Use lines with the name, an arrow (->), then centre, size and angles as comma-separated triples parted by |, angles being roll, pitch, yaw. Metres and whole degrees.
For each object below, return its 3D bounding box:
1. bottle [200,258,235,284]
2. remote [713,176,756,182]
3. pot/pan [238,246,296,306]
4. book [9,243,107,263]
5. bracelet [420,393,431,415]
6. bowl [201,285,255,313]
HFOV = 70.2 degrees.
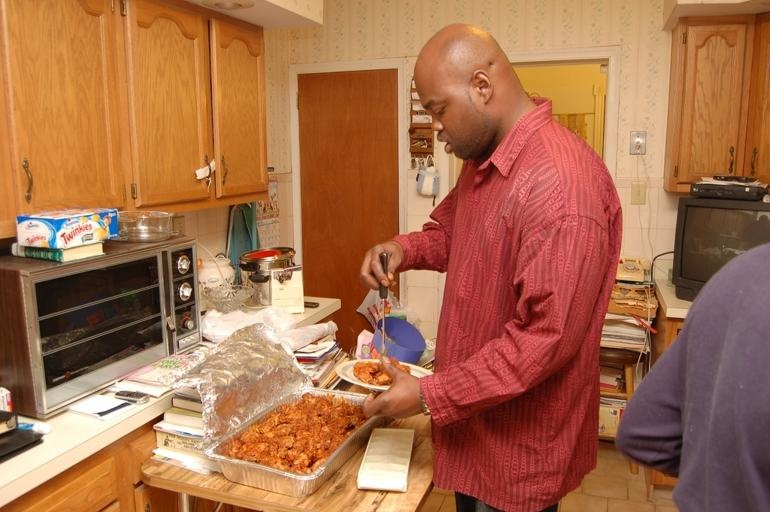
bottle -> -0.892, 0.091, 2.933 | 0.144, 0.131, 0.145 | 0, -3, -6
remote -> 1.950, -0.429, 3.076 | 0.212, 0.027, 0.149 | 7, 14, 32
pot/pan -> -0.640, 0.060, 2.977 | 0.267, 0.266, 0.373 | 3, 6, 21
book -> -1.156, -0.011, 1.914 | 0.285, 0.058, 0.127 | -3, 12, -11
bracelet -> 0.114, 0.434, 1.595 | 0.017, 0.055, 0.042 | -24, 8, -5
bowl -> -0.802, 0.211, 2.767 | 0.161, 0.065, 0.162 | -1, 4, 0
